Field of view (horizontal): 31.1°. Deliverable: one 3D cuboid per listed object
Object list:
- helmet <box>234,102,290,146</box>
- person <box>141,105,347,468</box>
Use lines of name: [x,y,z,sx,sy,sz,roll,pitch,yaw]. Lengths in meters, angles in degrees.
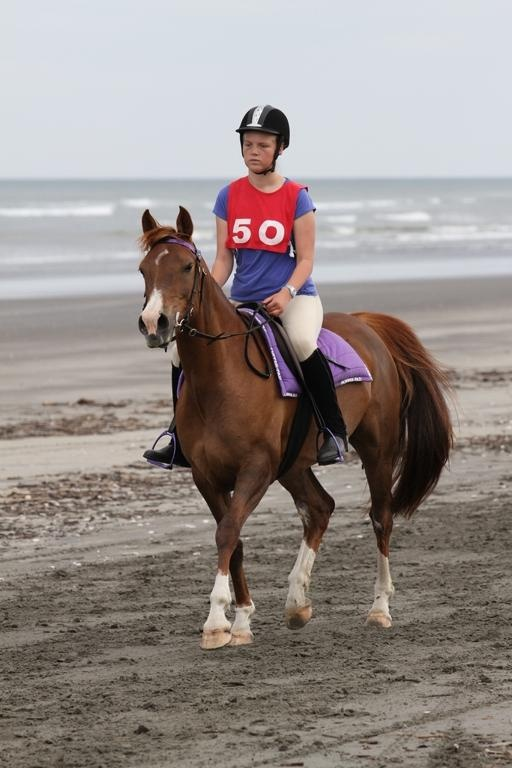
helmet: [0.028,-1.403,4.968,0.264,0.248,0.414,-2,2,0]
person: [-0.054,-0.549,5.121,1.300,1.941,1.058,1,9,23]
